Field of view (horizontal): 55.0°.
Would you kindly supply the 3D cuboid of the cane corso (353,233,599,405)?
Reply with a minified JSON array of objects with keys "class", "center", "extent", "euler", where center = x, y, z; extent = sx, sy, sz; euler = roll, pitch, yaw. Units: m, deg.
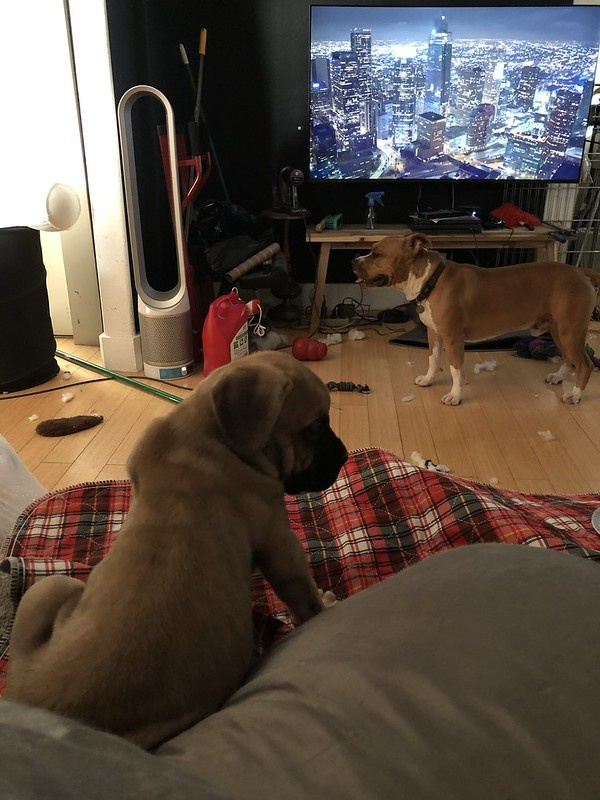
[{"class":"cane corso","center":[0.902,-0.433,3.001],"extent":[1.217,0.773,0.479],"euler":[3,33,4]}]

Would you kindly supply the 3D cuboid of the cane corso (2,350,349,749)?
[{"class":"cane corso","center":[-0.140,0.136,0.919],"extent":[0.279,0.311,0.721],"euler":[14,41,33]}]

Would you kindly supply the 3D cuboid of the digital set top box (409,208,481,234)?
[{"class":"digital set top box","center":[1.004,-1.231,3.983],"extent":[0.478,0.133,0.302],"euler":[4,31,5]}]

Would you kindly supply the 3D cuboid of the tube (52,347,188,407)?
[{"class":"tube","center":[-0.973,-0.122,3.214],"extent":[0.837,0.056,0.055],"euler":[21,4,10]}]
